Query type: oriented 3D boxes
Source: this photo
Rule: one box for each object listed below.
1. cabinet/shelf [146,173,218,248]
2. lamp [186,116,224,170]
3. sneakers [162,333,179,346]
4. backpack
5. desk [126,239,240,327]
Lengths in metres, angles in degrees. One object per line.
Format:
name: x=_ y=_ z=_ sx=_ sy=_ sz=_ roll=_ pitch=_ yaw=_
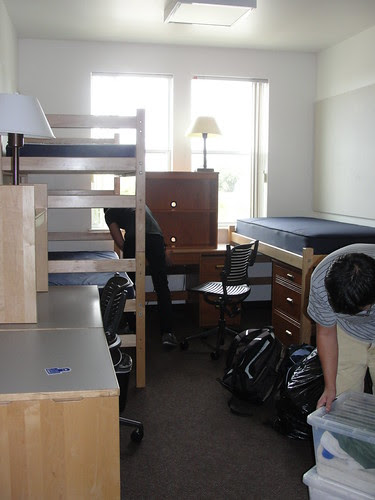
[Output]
cabinet/shelf: x=-0.076 y=-0.430 z=4.284 sx=0.740 sy=0.688 sz=0.256 roll=-1 pitch=5 yaw=-8
lamp: x=0.153 y=-1.095 z=4.427 sx=0.355 sy=0.542 sz=0.473 roll=-1 pitch=7 yaw=-16
sneakers: x=-0.155 y=0.752 z=3.566 sx=0.185 sy=0.129 sz=0.063 roll=2 pitch=4 yaw=-2
backpack: x=0.641 y=0.737 z=2.261 sx=0.160 sy=0.494 sz=0.343 roll=5 pitch=10 yaw=-29
desk: x=-0.036 y=0.266 z=4.309 sx=1.283 sy=0.941 sz=0.720 roll=-2 pitch=4 yaw=-12
